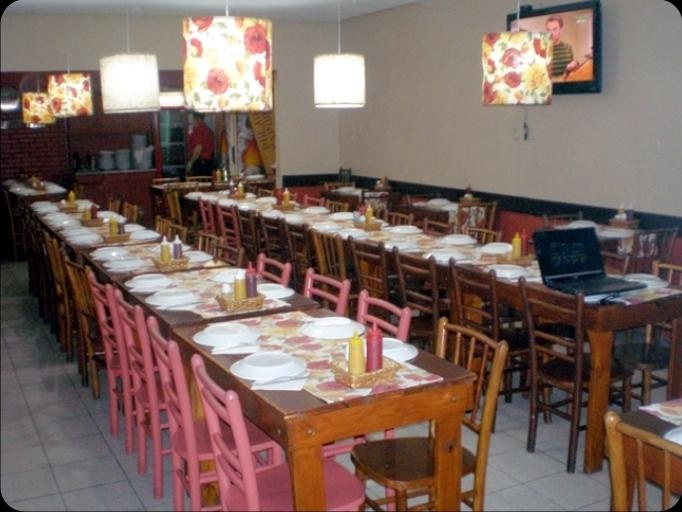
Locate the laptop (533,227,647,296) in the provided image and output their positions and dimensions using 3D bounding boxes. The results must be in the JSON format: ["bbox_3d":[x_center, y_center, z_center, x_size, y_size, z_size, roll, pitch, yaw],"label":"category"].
[{"bbox_3d":[1.457,0.017,3.248,0.577,0.331,0.519,-8,15,-25],"label":"laptop"}]

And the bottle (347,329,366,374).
[{"bbox_3d":[0.059,0.382,2.132,0.084,0.255,0.084,-1,21,0],"label":"bottle"}]

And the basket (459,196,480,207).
[{"bbox_3d":[1.620,-0.696,7.020,0.211,0.131,0.206,-2,4,-20],"label":"basket"}]

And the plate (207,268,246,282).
[{"bbox_3d":[-0.764,0.128,3.590,0.171,0.040,0.170,-1,6,-2],"label":"plate"}]

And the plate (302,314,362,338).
[{"bbox_3d":[-0.044,0.345,2.734,0.316,0.044,0.328,-1,13,2],"label":"plate"}]

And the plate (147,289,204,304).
[{"bbox_3d":[-0.990,0.237,3.196,0.305,0.047,0.257,-7,14,-22],"label":"plate"}]

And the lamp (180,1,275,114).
[{"bbox_3d":[-0.520,-0.919,2.703,0.472,0.505,0.439,-1,5,-9],"label":"lamp"}]

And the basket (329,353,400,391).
[{"bbox_3d":[0.095,0.449,2.138,0.264,0.064,0.200,-1,13,-1],"label":"basket"}]

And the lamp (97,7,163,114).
[{"bbox_3d":[-1.739,-1.444,4.497,0.472,0.484,0.379,4,15,22],"label":"lamp"}]

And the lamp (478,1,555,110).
[{"bbox_3d":[1.327,-1.422,4.123,0.495,0.530,0.231,2,15,13],"label":"lamp"}]

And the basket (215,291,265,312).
[{"bbox_3d":[-0.562,0.256,3.043,0.260,0.071,0.173,-4,14,-11],"label":"basket"}]
